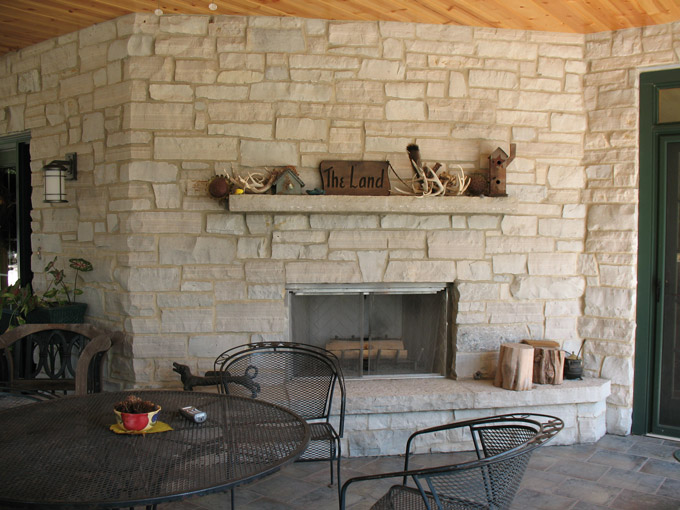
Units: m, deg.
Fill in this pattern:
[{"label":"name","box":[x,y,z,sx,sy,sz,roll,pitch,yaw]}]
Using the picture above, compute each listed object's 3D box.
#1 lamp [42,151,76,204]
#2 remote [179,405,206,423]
[{"label":"lamp","box":[-2.232,-0.621,5.300,0.201,0.389,0.200,1,2,37]},{"label":"remote","box":[-0.793,0.857,3.607,0.125,0.041,0.068,10,10,38]}]
